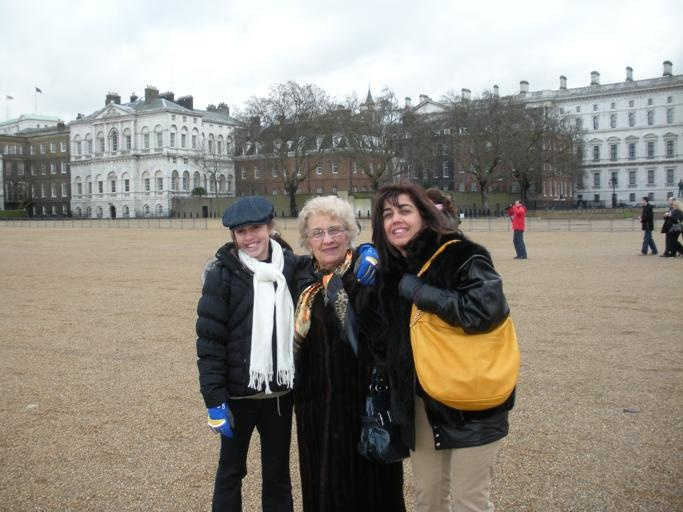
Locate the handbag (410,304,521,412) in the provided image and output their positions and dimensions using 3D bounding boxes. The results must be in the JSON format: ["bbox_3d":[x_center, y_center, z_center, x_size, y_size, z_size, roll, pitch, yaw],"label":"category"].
[{"bbox_3d":[0.865,0.521,4.444,0.623,0.960,0.545,-9,37,4],"label":"handbag"}]

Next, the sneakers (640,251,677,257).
[{"bbox_3d":[9.812,-0.057,20.764,0.573,0.089,0.068,10,24,39],"label":"sneakers"}]

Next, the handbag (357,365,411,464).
[{"bbox_3d":[0.288,1.110,4.814,0.268,0.724,0.465,-11,-15,28],"label":"handbag"}]

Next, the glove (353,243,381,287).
[{"bbox_3d":[0.152,0.013,4.800,0.097,0.185,0.235,34,5,-46],"label":"glove"}]

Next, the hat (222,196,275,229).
[{"bbox_3d":[-0.724,-0.314,5.065,0.383,0.213,0.535,-9,2,7],"label":"hat"}]

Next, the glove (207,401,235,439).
[{"bbox_3d":[-0.856,1.161,4.771,0.171,0.303,0.168,-1,9,-5],"label":"glove"}]
